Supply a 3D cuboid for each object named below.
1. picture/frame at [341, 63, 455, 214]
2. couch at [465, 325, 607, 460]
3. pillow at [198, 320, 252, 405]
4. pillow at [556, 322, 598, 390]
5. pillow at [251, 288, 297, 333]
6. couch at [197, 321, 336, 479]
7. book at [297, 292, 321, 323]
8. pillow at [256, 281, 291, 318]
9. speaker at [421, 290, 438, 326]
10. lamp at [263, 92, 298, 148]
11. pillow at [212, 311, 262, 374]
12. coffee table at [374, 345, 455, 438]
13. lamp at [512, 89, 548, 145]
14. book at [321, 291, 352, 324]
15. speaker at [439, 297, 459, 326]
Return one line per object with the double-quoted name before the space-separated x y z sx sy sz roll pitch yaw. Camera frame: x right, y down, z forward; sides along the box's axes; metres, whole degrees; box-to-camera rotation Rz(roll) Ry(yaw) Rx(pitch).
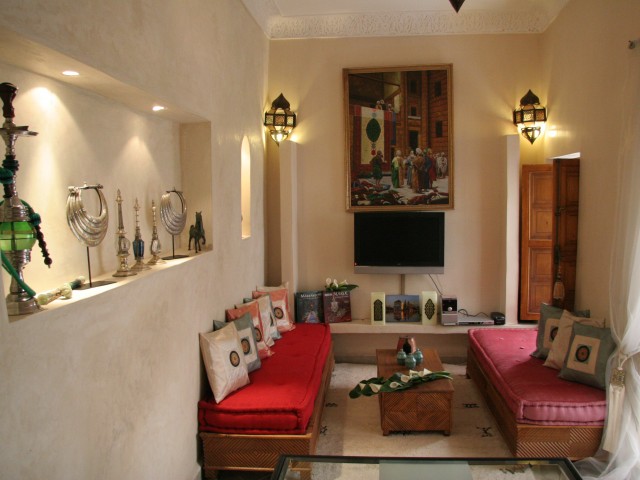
"picture/frame" 1.081 -1.403 6.369 1.797 2.465 0.099 -1 -1 2
"couch" 1.981 1.342 4.242 0.639 0.400 0.981 -1 7 2
"pillow" -0.835 1.068 4.282 0.289 0.578 0.625 5 2 14
"pillow" 2.327 1.045 4.311 0.124 0.440 0.435 9 6 -12
"pillow" -0.537 0.811 5.492 0.422 0.465 0.160 -6 -21 -37
"couch" -0.485 1.075 4.149 0.717 0.542 1.674 -1 3 3
"book" -0.143 0.884 6.264 0.366 0.397 0.149 -4 8 -6
"pillow" -0.529 0.733 5.988 0.389 0.436 0.119 -1 -1 -29
"speaker" 1.391 0.875 6.193 0.187 0.417 0.101 -2 8 6
"lamp" -0.538 -1.616 6.426 0.407 0.643 0.391 2 13 -14
"pillow" -0.738 0.974 4.559 0.132 0.461 0.476 -14 -4 19
"coffee table" 0.963 1.566 4.921 0.743 0.535 0.780 -2 8 8
"lamp" 2.667 -1.566 6.182 0.404 0.678 0.264 1 9 25
"book" 0.200 0.890 6.333 0.378 0.390 0.128 -1 -3 -12
"speaker" 1.639 0.899 6.149 0.234 0.371 0.256 -1 8 14
